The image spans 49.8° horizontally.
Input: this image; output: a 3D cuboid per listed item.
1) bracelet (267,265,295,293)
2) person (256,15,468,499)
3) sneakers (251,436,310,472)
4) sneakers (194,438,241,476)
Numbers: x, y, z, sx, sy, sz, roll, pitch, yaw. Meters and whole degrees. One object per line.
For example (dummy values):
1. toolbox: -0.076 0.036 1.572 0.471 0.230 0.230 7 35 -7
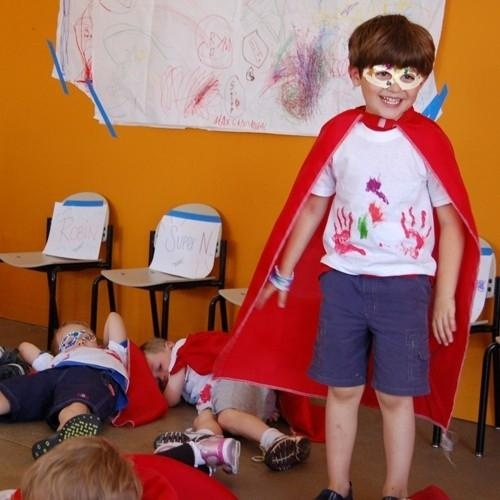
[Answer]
1. bracelet: 0.080 0.074 1.398 0.047 0.055 0.065 6 6 3
2. person: 0.273 0.030 1.358 0.481 0.828 0.231 5 3 30
3. sneakers: 0.098 0.589 1.646 0.150 0.087 0.073 -16 22 -33
4. sneakers: -0.088 0.578 1.500 0.111 0.096 0.054 6 23 20
